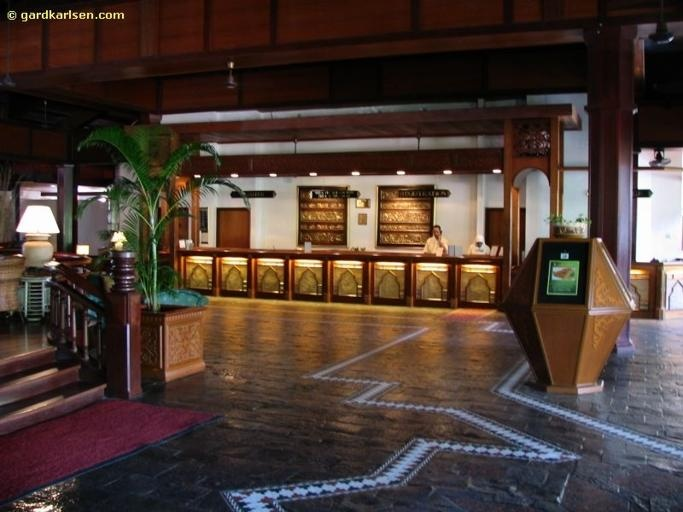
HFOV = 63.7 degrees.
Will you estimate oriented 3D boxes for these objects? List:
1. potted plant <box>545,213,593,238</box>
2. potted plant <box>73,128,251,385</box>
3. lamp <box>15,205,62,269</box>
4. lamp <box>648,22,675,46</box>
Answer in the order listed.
[{"bbox_3d":[2.489,-0.313,6.153,0.463,0.258,0.459,2,-5,3],"label":"potted plant"},{"bbox_3d":[-2.152,-0.233,6.482,1.411,2.535,1.694,7,-2,-23],"label":"potted plant"},{"bbox_3d":[-4.209,-0.273,7.656,0.471,0.839,0.680,-3,5,-31],"label":"lamp"},{"bbox_3d":[3.633,-2.574,6.299,0.217,0.259,0.336,3,5,28],"label":"lamp"}]
